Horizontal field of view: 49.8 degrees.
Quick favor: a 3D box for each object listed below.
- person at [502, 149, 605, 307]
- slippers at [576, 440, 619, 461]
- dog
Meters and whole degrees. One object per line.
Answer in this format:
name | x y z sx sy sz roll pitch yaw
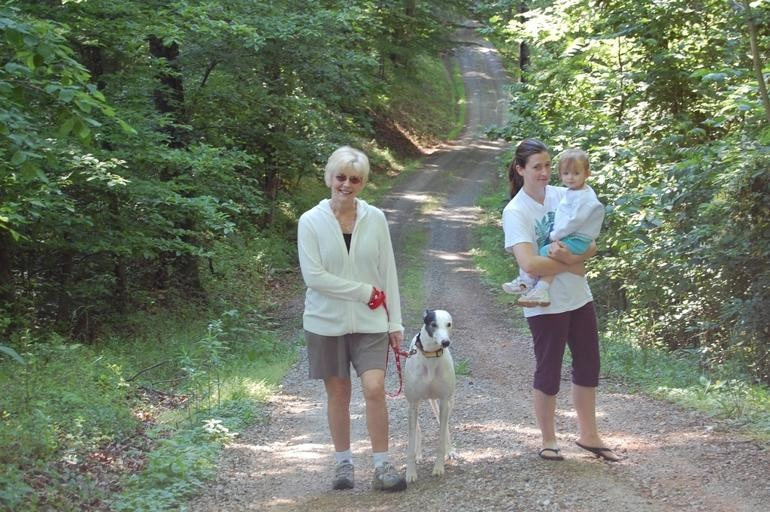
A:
person | 2.142 -0.372 10.254 1.245 1.817 0.583 -12 16 -26
slippers | 2.700 2.514 10.508 0.505 0.118 0.200 14 23 20
dog | 0.544 1.706 10.562 0.703 2.093 1.125 -4 14 5
